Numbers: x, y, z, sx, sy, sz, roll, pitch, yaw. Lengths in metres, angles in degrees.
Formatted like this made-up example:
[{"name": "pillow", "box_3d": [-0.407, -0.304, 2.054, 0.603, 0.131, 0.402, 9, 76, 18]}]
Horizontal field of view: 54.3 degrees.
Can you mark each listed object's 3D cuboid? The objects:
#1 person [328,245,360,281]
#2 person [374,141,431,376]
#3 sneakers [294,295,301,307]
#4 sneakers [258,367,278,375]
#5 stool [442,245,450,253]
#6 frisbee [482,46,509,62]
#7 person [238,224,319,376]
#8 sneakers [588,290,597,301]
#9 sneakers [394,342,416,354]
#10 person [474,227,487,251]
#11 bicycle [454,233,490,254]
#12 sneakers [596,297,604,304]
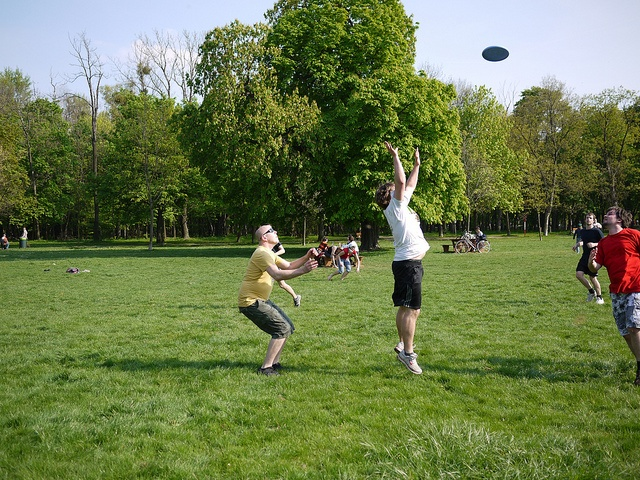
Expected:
[{"name": "person", "box_3d": [0.927, 0.800, 21.814, 0.617, 1.315, 1.251, -2, 14, -5]}, {"name": "person", "box_3d": [1.540, 0.325, 11.766, 0.934, 4.193, 1.310, 0, 14, 2]}, {"name": "sneakers", "box_3d": [-0.554, 1.448, 15.140, 0.134, 0.332, 0.118, 20, -38, -26]}, {"name": "sneakers", "box_3d": [-0.984, 2.471, 11.777, 0.387, 0.181, 0.148, 3, 15, -1]}, {"name": "stool", "box_3d": [6.874, 0.491, 33.837, 0.429, 0.460, 0.452, 0, -1, -1]}, {"name": "frisbee", "box_3d": [4.088, -4.368, 14.724, 0.587, 0.304, 0.468, 7, 16, 27]}, {"name": "person", "box_3d": [-0.877, 1.146, 11.787, 1.484, 2.669, 0.939, 4, 15, 17]}, {"name": "sneakers", "box_3d": [7.086, 1.437, 16.211, 0.298, 0.140, 0.099, -43, 15, -9]}, {"name": "sneakers", "box_3d": [1.546, 2.067, 11.991, 0.283, 0.135, 0.095, -4, 47, -40]}, {"name": "person", "box_3d": [8.920, 0.062, 34.423, 0.759, 1.432, 0.609, 3, 25, 24]}, {"name": "bicycle", "box_3d": [8.401, 0.274, 34.016, 1.955, 1.224, 1.026, 5, 3, -25]}, {"name": "sneakers", "box_3d": [7.175, 1.564, 15.979, 0.135, 0.225, 0.214, -4, -10, 27]}]
